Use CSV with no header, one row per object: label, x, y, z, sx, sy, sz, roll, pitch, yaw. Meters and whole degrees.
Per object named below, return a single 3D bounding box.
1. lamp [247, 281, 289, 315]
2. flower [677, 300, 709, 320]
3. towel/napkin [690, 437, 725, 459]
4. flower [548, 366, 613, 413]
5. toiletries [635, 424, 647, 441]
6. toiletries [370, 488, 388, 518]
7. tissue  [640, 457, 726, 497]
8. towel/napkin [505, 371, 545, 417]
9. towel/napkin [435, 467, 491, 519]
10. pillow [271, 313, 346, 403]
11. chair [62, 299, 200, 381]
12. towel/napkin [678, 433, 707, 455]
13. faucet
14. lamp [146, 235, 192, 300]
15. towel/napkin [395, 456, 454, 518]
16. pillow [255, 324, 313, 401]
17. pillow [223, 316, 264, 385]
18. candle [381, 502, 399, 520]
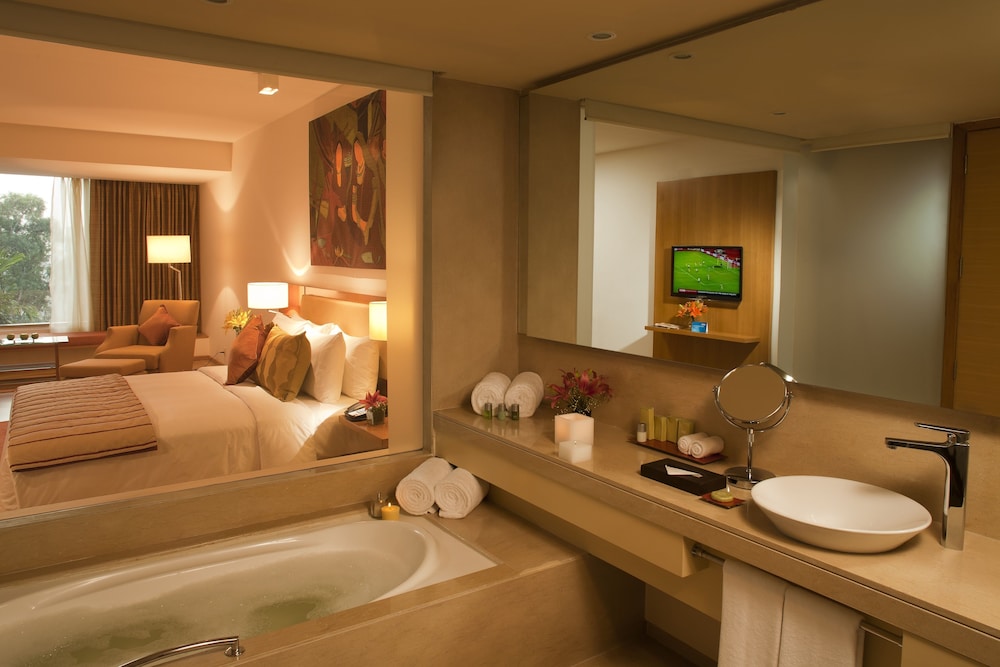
lamp,-1.146,-0.180,3.350,0.152,0.097,0.152,1,3,-6
flower,0.911,-0.113,3.176,0.090,0.095,0.093,-3,8,-35
towel/napkin,0.962,0.523,3.111,0.124,0.094,0.091,0,2,-25
flower,0.419,0.317,3.651,0.262,0.187,0.266,0,6,-5
toiletries,0.704,0.489,3.347,0.050,0.095,0.031,3,7,17
toiletries,-0.637,0.929,3.637,0.088,0.126,0.124,-1,-4,39
tissue ,0.801,0.616,2.922,0.215,0.066,0.366,-4,8,-43
towel/napkin,0.145,0.343,3.802,0.184,0.242,0.095,-2,-9,18
towel/napkin,-0.236,0.908,3.704,0.191,0.188,0.263,0,-20,3
pillow,-1.146,0.145,3.722,0.205,0.367,0.532,32,-14,-21
chair,-1.674,0.060,3.126,0.373,0.441,0.547,0,7,5
towel/napkin,0.879,0.511,3.131,0.092,0.037,0.090,-2,4,-41
faucet,1.551,0.547,2.460,0.256,0.429,0.146,4,8,24
lamp,-1.550,-0.316,3.178,0.183,0.297,0.075,-1,8,-22
towel/napkin,-0.427,0.843,3.766,0.222,0.216,0.291,8,12,6
pillow,-1.187,0.152,3.681,0.205,0.389,0.524,4,7,-36
pillow,-1.241,0.083,3.347,0.092,0.289,0.306,12,-36,-24
candle,-0.578,0.940,3.580,0.069,0.060,0.070,2,2,12
